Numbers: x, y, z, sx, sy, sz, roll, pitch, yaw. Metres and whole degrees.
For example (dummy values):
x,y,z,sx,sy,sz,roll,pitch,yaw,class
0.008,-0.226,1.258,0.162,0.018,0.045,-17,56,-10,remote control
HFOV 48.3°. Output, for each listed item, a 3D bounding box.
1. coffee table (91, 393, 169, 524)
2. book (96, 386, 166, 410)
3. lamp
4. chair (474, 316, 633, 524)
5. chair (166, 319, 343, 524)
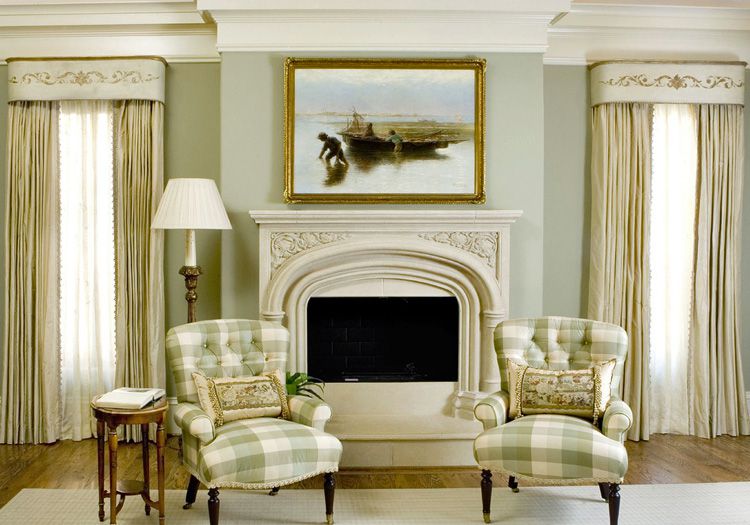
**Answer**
x,y,z,sx,sy,sz,roll,pitch,yaw,class
-1.858,1.399,6.304,0.527,0.978,0.976,-2,4,-18,coffee table
-1.793,0.974,6.017,0.467,0.110,0.303,-1,3,-2,book
-1.481,-0.093,6.780,0.621,1.180,0.687,-2,4,-10,lamp
1.318,1.158,6.181,1.115,1.430,0.784,0,4,16,chair
-0.973,1.107,6.505,1.407,1.617,1.444,2,-7,-28,chair
